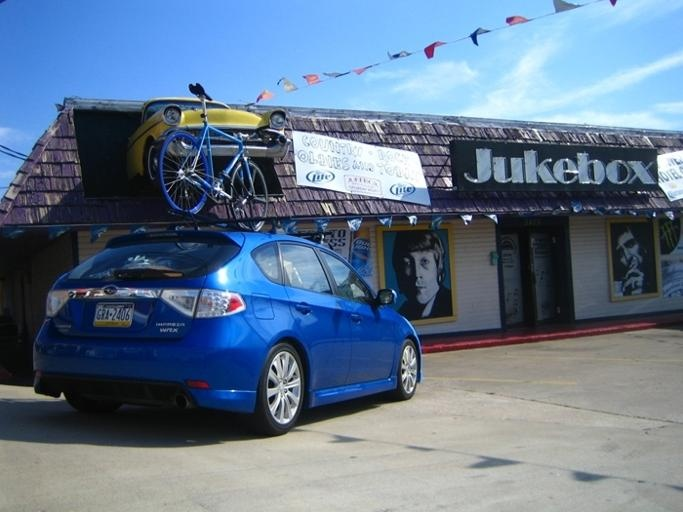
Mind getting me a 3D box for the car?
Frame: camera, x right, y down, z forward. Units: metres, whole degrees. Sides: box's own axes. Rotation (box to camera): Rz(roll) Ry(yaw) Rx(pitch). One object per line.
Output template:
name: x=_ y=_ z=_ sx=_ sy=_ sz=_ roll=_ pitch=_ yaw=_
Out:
car: x=-0.834 y=0.690 z=7.112 sx=2.010 sy=1.365 sz=3.724 roll=-3 pitch=-2 yaw=36
